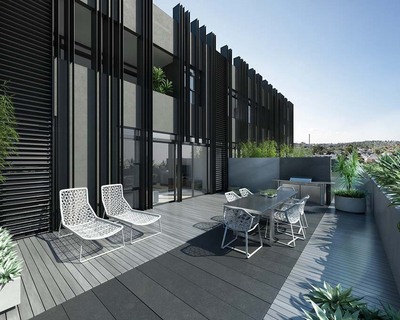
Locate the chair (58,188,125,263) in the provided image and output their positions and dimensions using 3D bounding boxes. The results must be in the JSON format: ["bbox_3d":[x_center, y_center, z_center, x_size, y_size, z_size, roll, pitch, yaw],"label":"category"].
[{"bbox_3d":[-2.439,1.226,5.326,1.535,1.301,0.881,2,2,39],"label":"chair"}]

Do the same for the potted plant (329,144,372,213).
[{"bbox_3d":[4.861,0.543,8.039,0.999,1.893,1.655,8,16,30],"label":"potted plant"}]

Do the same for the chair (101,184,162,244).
[{"bbox_3d":[-1.752,1.219,6.273,0.923,1.341,1.596,-1,2,-43],"label":"chair"}]
